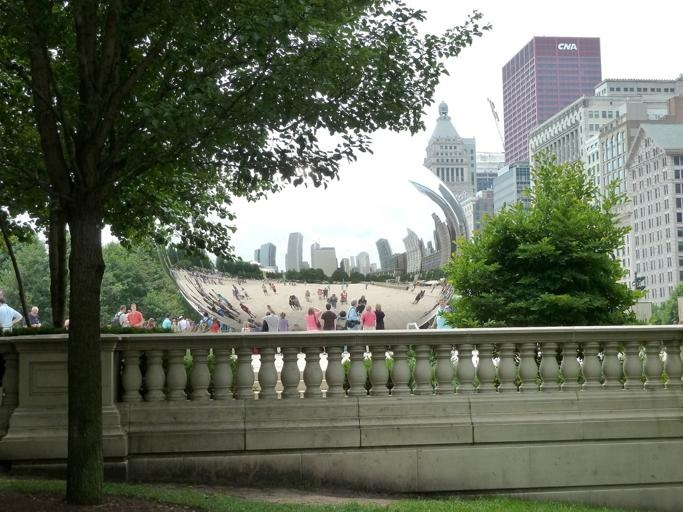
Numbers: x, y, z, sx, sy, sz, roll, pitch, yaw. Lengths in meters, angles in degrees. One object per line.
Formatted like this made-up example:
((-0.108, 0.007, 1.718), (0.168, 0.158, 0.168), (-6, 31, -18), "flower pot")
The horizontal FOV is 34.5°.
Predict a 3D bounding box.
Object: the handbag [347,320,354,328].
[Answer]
((0.165, 1.155, 19.239), (0.124, 0.116, 0.121), (0, -10, -1), "handbag")
